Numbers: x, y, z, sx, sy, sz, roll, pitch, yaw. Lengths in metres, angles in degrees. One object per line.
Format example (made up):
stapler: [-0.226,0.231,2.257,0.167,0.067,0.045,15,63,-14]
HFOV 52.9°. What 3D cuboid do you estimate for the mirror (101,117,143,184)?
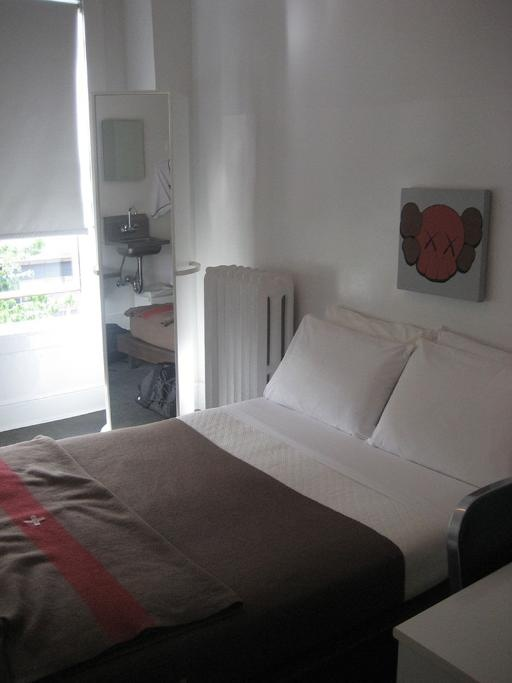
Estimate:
mirror: [-0.729,-1.053,2.843,0.241,0.345,0.041,-3,-2,-5]

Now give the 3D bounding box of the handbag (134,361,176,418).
handbag: [-0.676,0.264,3.255,0.231,0.228,0.170,12,7,-43]

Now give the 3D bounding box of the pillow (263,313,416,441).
pillow: [0.344,0.149,2.135,0.146,0.449,0.535,34,-9,-37]
